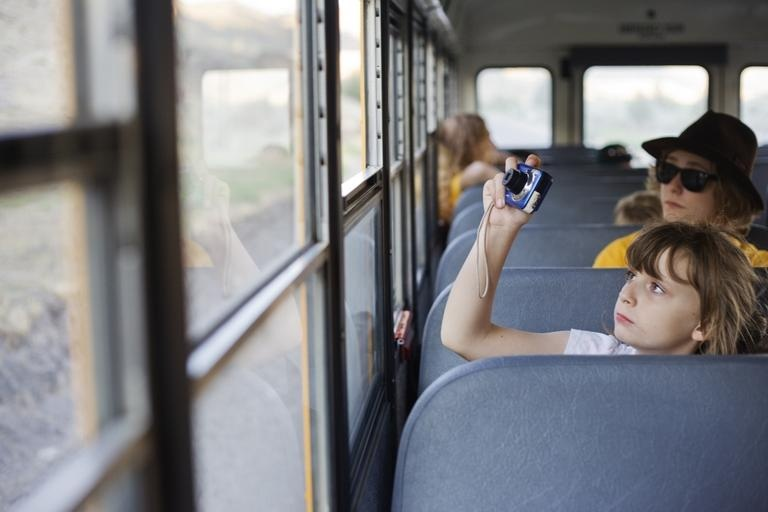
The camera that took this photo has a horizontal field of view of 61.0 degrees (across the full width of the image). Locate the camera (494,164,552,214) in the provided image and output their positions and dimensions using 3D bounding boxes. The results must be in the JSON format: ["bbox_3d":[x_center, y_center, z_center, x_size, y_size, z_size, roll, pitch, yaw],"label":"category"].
[{"bbox_3d":[0.373,-0.196,1.796,0.108,0.115,0.159,24,5,-16],"label":"camera"}]

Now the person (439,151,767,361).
[{"bbox_3d":[0.780,-0.014,2.274,0.915,0.346,0.641,9,36,7],"label":"person"}]

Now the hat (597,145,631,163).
[{"bbox_3d":[1.265,-0.565,3.634,0.143,0.108,0.041,-2,46,18],"label":"hat"}]
